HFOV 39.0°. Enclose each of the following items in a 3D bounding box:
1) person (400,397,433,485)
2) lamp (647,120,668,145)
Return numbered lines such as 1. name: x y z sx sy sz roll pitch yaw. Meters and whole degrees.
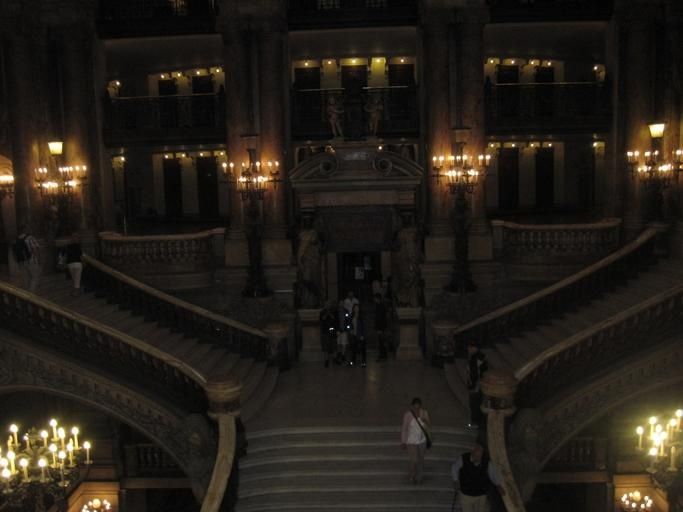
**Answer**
1. person: 1.656 4.048 21.333 0.625 1.179 1.451 3 -38 0
2. lamp: 8.315 -3.285 25.496 0.564 0.636 0.858 2 -79 13
